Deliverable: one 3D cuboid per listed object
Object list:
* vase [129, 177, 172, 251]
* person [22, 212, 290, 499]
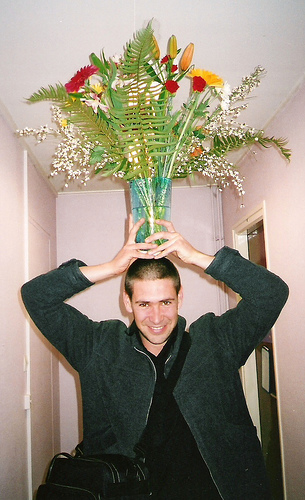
[{"bbox_3d":[-0.003,-0.128,1.255,0.133,0.215,0.091,-3,-5,0],"label":"vase"},{"bbox_3d":[0.030,0.366,1.358,0.872,0.964,0.403,-4,-5,10],"label":"person"}]
